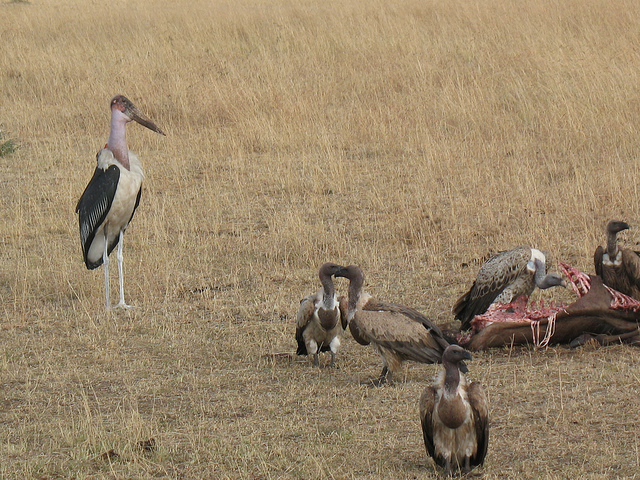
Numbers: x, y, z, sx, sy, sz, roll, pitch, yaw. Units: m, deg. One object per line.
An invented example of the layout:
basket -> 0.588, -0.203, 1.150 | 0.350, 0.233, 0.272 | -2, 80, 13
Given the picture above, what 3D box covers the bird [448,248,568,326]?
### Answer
bird -> 2.685, 0.706, 17.934 | 1.756, 1.098, 0.872 | -2, -8, 42
